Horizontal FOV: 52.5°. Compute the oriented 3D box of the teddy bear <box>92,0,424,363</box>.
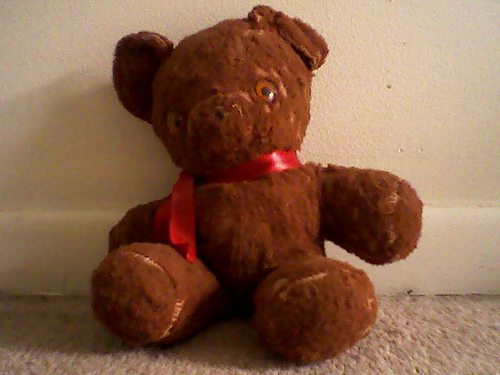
[{"bbox_3d":[0.021,-0.041,1.228,0.790,0.733,0.603,-4,22,-10],"label":"teddy bear"}]
